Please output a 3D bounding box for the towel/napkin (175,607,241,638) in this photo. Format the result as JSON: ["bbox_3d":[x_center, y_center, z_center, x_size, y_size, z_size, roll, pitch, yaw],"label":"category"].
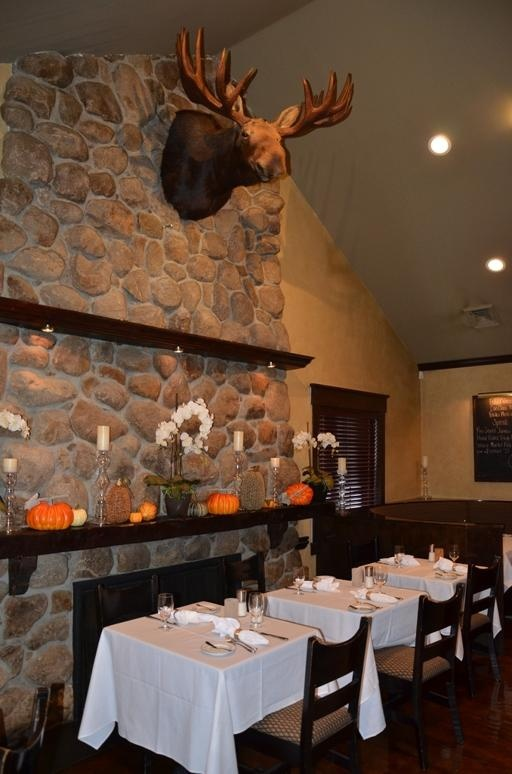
[{"bbox_3d":[-0.210,1.009,2.461,0.221,0.073,0.129,4,-10,-38],"label":"towel/napkin"}]

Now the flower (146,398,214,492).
[{"bbox_3d":[-0.502,0.399,3.665,0.411,0.648,0.377,-2,-10,14],"label":"flower"}]

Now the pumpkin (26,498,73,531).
[{"bbox_3d":[-1.026,0.643,2.789,0.157,0.128,0.163,1,-6,-11],"label":"pumpkin"}]

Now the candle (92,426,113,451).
[{"bbox_3d":[-0.844,0.287,3.101,0.052,0.152,0.089,1,-5,-3],"label":"candle"}]

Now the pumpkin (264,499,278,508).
[{"bbox_3d":[0.112,0.898,4.320,0.080,0.054,0.084,0,-9,3],"label":"pumpkin"}]

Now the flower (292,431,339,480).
[{"bbox_3d":[0.503,0.630,4.981,0.429,0.552,0.378,-4,-5,20],"label":"flower"}]

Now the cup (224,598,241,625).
[{"bbox_3d":[-0.096,1.023,2.578,0.082,0.148,0.089,4,-6,0],"label":"cup"}]

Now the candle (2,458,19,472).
[{"bbox_3d":[-1.177,0.370,2.681,0.063,0.076,0.064,4,-7,-26],"label":"candle"}]

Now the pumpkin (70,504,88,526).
[{"bbox_3d":[-0.946,0.688,3.013,0.088,0.122,0.088,4,-11,-41],"label":"pumpkin"}]

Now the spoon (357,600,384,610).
[{"bbox_3d":[0.558,1.096,2.800,0.083,0.014,0.054,-2,-10,32],"label":"spoon"}]

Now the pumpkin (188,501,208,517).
[{"bbox_3d":[-0.379,0.804,3.701,0.111,0.082,0.154,1,-5,3],"label":"pumpkin"}]

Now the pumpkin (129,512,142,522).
[{"bbox_3d":[-0.699,0.755,3.257,0.046,0.048,0.047,2,7,34],"label":"pumpkin"}]

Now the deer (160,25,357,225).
[{"bbox_3d":[-0.146,-1.636,3.695,1.175,1.031,0.975,-10,19,-41],"label":"deer"}]

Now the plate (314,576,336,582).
[{"bbox_3d":[0.416,1.146,3.343,0.073,0.030,0.064,1,-7,26],"label":"plate"}]

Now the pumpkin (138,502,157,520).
[{"bbox_3d":[-0.652,0.742,3.366,0.086,0.112,0.090,-4,-2,20],"label":"pumpkin"}]

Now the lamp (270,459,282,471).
[{"bbox_3d":[0.161,0.620,4.538,0.093,0.115,0.095,-2,5,-26],"label":"lamp"}]

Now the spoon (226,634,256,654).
[{"bbox_3d":[-0.063,0.958,2.149,0.037,0.033,0.222,4,-4,-28],"label":"spoon"}]

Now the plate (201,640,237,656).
[{"bbox_3d":[-0.140,0.965,2.064,0.114,0.021,0.172,2,-6,-6],"label":"plate"}]

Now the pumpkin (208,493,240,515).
[{"bbox_3d":[-0.227,0.790,3.806,0.145,0.138,0.151,-5,-6,26],"label":"pumpkin"}]

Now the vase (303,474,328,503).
[{"bbox_3d":[0.501,0.868,4.786,0.189,0.218,0.206,0,-4,-5],"label":"vase"}]

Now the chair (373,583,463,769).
[{"bbox_3d":[0.757,1.323,2.660,0.398,0.789,0.563,-3,-6,35],"label":"chair"}]

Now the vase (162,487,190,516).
[{"bbox_3d":[-0.494,0.732,3.558,0.147,0.129,0.165,0,-9,-1],"label":"vase"}]

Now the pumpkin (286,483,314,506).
[{"bbox_3d":[0.361,0.870,4.591,0.167,0.181,0.174,1,1,39],"label":"pumpkin"}]

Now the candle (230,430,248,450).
[{"bbox_3d":[-0.129,0.392,4.153,0.122,0.221,0.124,-1,0,-8],"label":"candle"}]
